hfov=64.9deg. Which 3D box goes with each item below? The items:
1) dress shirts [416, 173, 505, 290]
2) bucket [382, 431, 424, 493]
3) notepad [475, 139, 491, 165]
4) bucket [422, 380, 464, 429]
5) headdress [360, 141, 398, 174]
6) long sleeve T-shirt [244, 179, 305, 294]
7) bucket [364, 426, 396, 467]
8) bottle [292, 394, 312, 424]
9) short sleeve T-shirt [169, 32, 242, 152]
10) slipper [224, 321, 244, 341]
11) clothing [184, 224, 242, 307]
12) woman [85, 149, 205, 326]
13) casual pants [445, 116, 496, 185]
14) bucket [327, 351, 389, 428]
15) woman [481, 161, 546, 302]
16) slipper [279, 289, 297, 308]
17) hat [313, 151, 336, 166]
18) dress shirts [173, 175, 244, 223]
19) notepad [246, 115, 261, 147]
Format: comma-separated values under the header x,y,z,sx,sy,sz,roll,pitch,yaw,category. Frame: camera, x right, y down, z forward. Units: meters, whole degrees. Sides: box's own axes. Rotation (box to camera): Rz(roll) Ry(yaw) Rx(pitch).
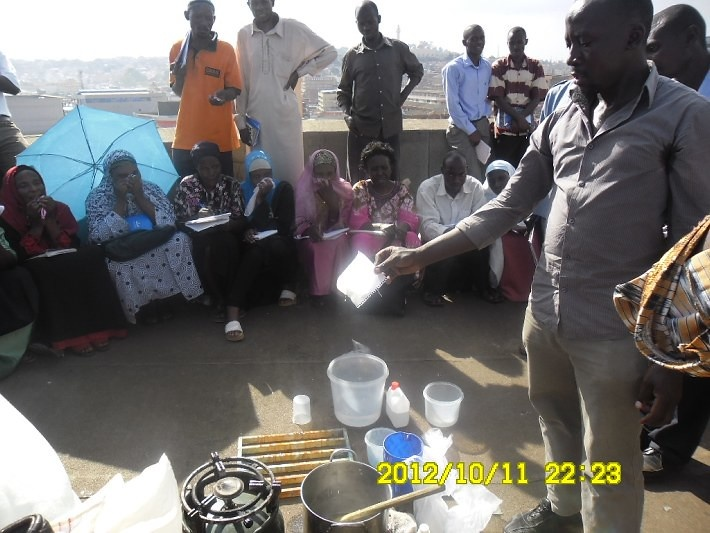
x,y,z,sx,sy,sz,roll,pitch,yaw,category
0.943,-0.339,5.378,0.737,1.107,0.976,-8,17,-3,dress shirts
0.239,1.029,2.870,0.203,0.236,0.225,10,35,13,bucket
1.396,-1.233,6.063,0.056,0.218,0.214,-12,52,-36,notepad
0.548,0.833,3.488,0.243,0.194,0.255,-1,34,0,bucket
0.235,-1.028,5.365,0.268,0.337,0.140,4,10,8,headdress
-0.791,-0.390,5.177,0.424,1.192,0.655,-14,-9,18,long sleeve T-shirt
0.121,0.977,3.104,0.168,0.134,0.176,-1,30,1,bucket
-0.332,0.887,3.525,0.142,0.167,0.145,-3,13,-27,bottle
-1.433,-1.615,5.298,0.676,1.025,0.380,6,42,-7,short sleeve T-shirt
-0.970,0.514,4.453,0.091,0.081,0.197,-5,15,-15,slipper
-1.223,-0.025,4.788,0.561,0.567,0.375,-12,15,-42,clothing
-1.824,-0.280,4.664,0.769,1.271,0.778,9,28,20,woman
1.220,-1.219,5.858,0.297,0.237,0.850,5,-20,33,casual pants
-0.007,0.745,3.544,0.394,0.332,0.412,0,30,0,bucket
1.428,-0.319,5.073,0.464,1.292,0.340,-15,18,15,woman
-0.607,0.290,5.003,0.140,0.135,0.149,-3,24,3,slipper
-0.289,-1.003,5.216,0.217,0.120,0.168,-6,24,-4,hat
-1.313,-0.593,5.124,0.634,0.462,0.351,-2,1,6,dress shirts
-1.009,-1.327,5.575,0.140,0.310,0.105,-8,24,-10,notepad
